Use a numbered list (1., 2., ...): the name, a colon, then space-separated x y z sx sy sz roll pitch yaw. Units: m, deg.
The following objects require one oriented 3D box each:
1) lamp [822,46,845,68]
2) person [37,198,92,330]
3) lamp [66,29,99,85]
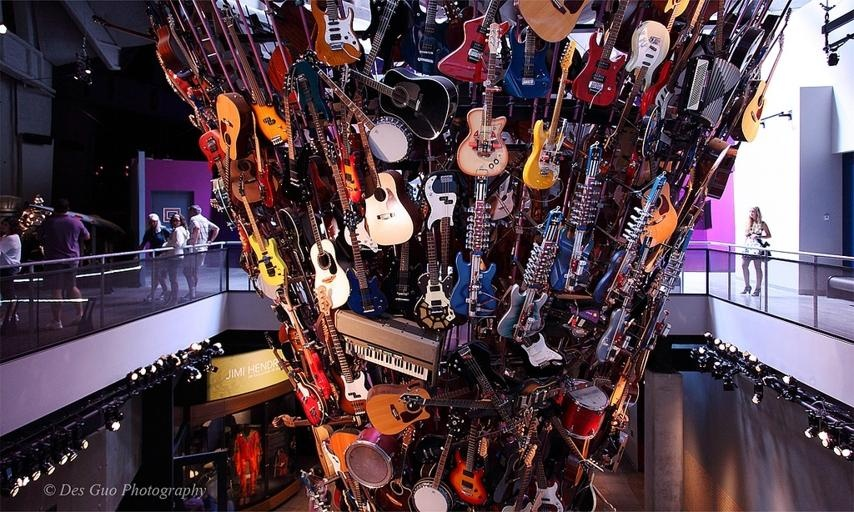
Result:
1. lamp: 8.036 -3.933 11.468 0.319 0.410 0.122 0 -1 -6
2. person: -5.317 0.066 8.464 0.613 1.807 1.300 -1 4 -34
3. lamp: -7.536 -4.258 12.593 0.359 0.857 0.995 -1 4 -32
